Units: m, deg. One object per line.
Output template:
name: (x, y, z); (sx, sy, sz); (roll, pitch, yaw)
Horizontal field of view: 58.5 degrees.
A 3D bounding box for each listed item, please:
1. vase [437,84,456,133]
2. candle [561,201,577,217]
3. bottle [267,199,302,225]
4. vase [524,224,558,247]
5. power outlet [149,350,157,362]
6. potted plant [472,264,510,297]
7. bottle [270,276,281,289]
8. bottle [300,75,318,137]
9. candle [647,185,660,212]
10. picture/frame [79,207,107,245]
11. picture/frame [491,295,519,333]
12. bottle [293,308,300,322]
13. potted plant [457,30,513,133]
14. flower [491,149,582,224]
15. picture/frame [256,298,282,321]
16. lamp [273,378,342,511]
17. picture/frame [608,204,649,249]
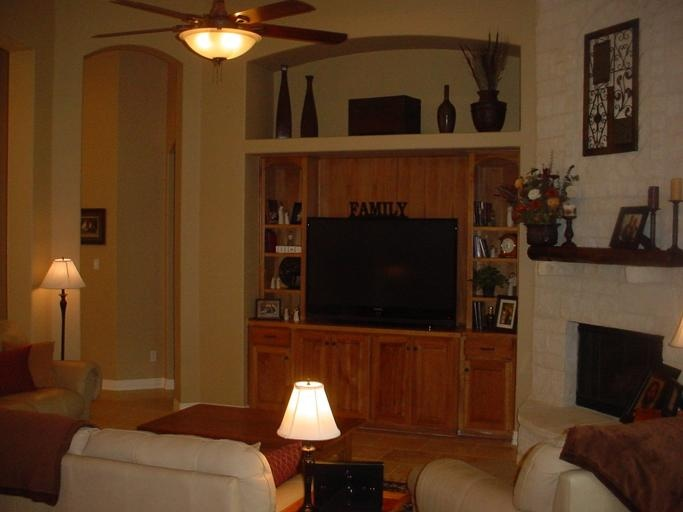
vase: (1.071, -1.510, 6.247); (0.179, 0.557, 0.279); (2, 2, 12)
candle: (1.982, -0.410, 5.316); (0.109, 0.122, 0.115); (4, 0, 19)
bottle: (-0.680, -0.481, 7.028); (0.312, 0.323, 0.082); (4, -14, 0)
vase: (1.780, -0.186, 5.451); (0.198, 0.143, 0.204); (0, -2, 1)
power outlet: (-2.333, 1.238, 7.539); (0.087, 0.149, 0.020); (1, 2, -23)
potted plant: (1.559, 0.249, 6.366); (0.366, 0.328, 0.330); (2, 2, 17)
bottle: (-0.749, 0.306, 6.925); (0.131, 0.202, 0.104); (1, -4, -12)
bottle: (-0.351, -1.667, 6.769); (0.212, 0.772, 0.475); (1, 2, -3)
candle: (2.438, -0.447, 4.760); (0.088, 0.204, 0.123); (2, 2, 27)
picture/frame: (-2.983, -0.356, 7.340); (0.423, 0.477, 0.032); (1, 0, 8)
picture/frame: (1.642, 0.587, 6.112); (0.034, 0.494, 0.334); (9, -5, -43)
bottle: (-0.495, 0.648, 6.751); (0.061, 0.133, 0.275); (1, 1, -5)
potted plant: (1.446, -1.697, 6.182); (0.468, 0.955, 0.581); (2, 2, 12)
flower: (1.730, -0.578, 5.526); (0.451, 0.598, 0.724); (1, 2, -25)
picture/frame: (-0.812, 0.581, 6.873); (0.326, 0.330, 0.189); (0, 2, -4)
lamp: (-0.198, 1.111, 3.734); (0.372, 0.726, 0.418); (2, 2, 23)
picture/frame: (2.289, -0.226, 4.850); (0.265, 0.342, 0.238); (2, 2, 24)
